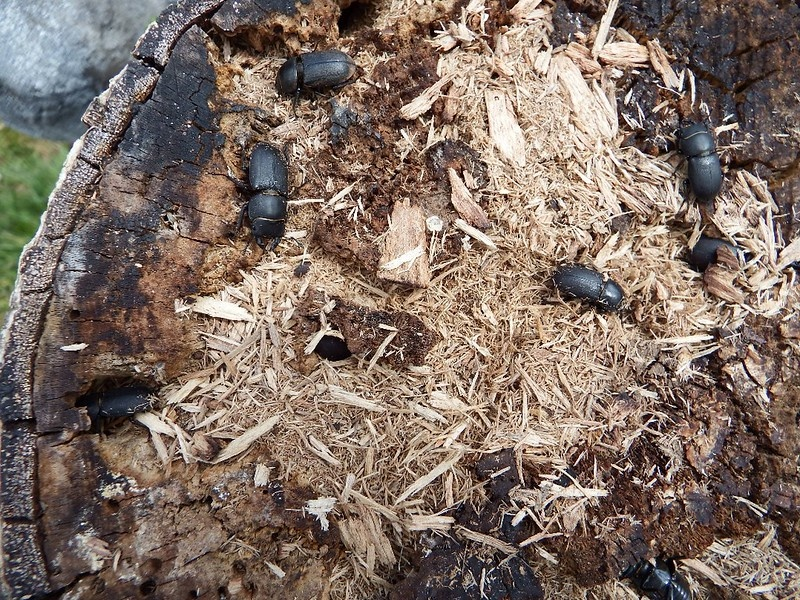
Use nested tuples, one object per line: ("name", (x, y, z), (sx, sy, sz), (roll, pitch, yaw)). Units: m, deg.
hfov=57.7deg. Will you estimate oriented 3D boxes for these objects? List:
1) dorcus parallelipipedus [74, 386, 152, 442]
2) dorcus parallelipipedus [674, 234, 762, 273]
("dorcus parallelipipedus", (-1.704, 0.636, 4.340), (0.344, 0.126, 0.263), (-13, 93, -15))
("dorcus parallelipipedus", (2.112, -0.302, 4.750), (0.388, 0.143, 0.199), (6, 71, 16))
